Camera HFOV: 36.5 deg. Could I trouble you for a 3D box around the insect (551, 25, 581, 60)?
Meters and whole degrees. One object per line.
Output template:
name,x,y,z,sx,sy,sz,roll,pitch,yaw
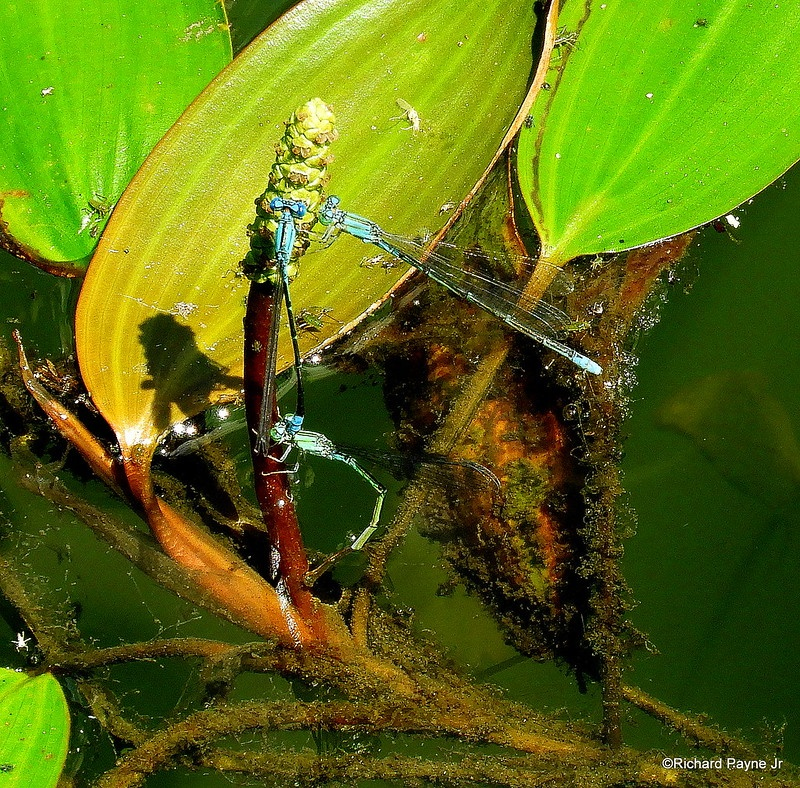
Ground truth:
insect,0.587,-1.233,4.263,0.079,0.059,0.082,12,53,6

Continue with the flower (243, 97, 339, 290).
flower,-0.318,-0.553,3.485,0.278,0.560,0.180,-32,58,-25

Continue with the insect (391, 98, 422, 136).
insect,0.026,-0.985,4.314,0.103,0.073,0.076,9,52,4

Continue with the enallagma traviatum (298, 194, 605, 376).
enallagma traviatum,0.197,-0.345,4.112,0.804,0.188,0.126,36,100,17

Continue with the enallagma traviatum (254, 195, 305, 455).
enallagma traviatum,-0.391,-0.248,4.051,0.107,0.073,0.548,-5,81,-46

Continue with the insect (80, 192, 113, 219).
insect,-1.063,-0.657,4.273,0.093,0.034,0.082,21,55,12
